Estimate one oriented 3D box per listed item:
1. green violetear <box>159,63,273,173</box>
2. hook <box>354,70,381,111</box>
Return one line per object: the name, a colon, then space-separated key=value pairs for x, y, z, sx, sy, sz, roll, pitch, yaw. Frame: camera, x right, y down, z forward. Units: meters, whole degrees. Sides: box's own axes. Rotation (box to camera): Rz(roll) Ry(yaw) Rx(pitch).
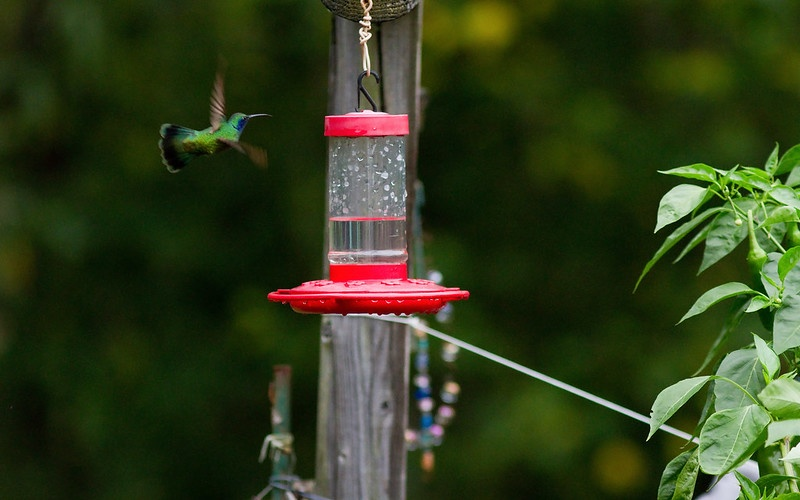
green violetear: x=-0.934 y=-0.590 z=6.389 sx=0.525 sy=0.287 sz=0.619 roll=-13 pitch=-33 yaw=4
hook: x=-0.144 y=-0.748 z=5.842 sx=0.120 sy=0.237 sz=0.320 roll=-2 pitch=-7 yaw=-2
